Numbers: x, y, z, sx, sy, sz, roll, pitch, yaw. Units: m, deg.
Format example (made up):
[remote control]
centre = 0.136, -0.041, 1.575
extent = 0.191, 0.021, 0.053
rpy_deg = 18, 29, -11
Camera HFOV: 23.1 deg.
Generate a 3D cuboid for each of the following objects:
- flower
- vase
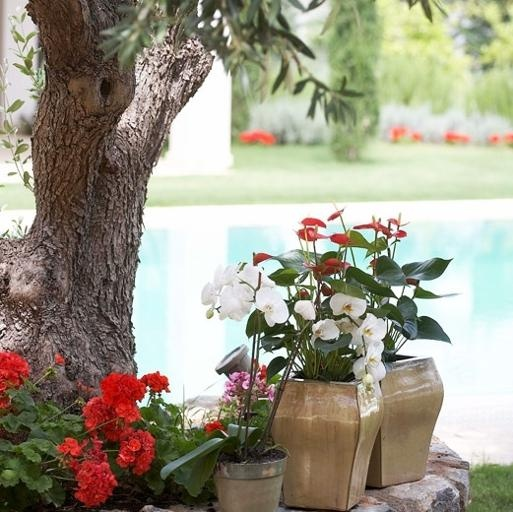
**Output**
[flower]
centre = 0.205, 0.334, 3.947
extent = 0.914, 0.940, 0.469
rpy_deg = -6, 14, -33
[vase]
centre = 0.327, 0.575, 4.004
extent = 0.699, 0.489, 0.466
rpy_deg = -1, -12, 8
